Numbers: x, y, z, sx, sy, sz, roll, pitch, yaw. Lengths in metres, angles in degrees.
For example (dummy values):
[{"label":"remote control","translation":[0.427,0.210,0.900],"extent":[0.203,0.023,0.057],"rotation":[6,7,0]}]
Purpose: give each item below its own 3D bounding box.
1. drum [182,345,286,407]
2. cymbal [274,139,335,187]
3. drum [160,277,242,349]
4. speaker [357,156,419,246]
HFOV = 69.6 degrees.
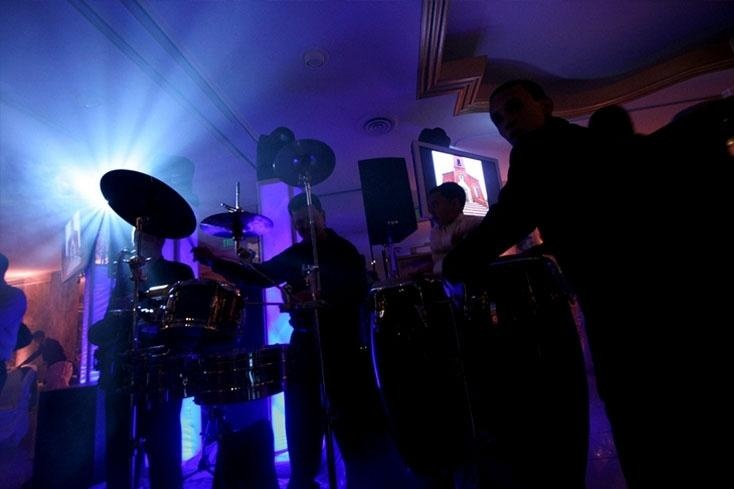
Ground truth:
[{"label":"drum","translation":[-1.156,1.181,4.731],"extent":[0.863,0.469,0.251],"rotation":[-4,-17,-7]},{"label":"cymbal","translation":[-0.661,-0.844,5.576],"extent":[0.630,0.350,0.532],"rotation":[-7,-16,1]},{"label":"drum","translation":[-1.462,0.649,4.907],"extent":[0.668,0.571,0.654],"rotation":[-5,-22,5]},{"label":"speaker","translation":[0.258,-0.588,6.455],"extent":[0.617,1.099,0.473],"rotation":[-6,-17,-3]}]
